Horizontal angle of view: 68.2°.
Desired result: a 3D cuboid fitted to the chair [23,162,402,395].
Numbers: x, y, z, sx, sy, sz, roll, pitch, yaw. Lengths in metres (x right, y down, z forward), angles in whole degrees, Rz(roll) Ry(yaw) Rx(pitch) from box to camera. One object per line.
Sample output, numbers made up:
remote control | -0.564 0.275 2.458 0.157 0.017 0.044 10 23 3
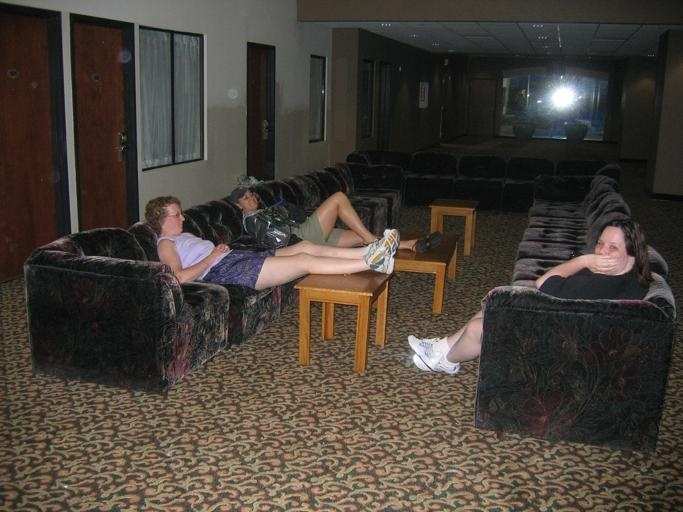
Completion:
chair | -1.202 0.151 4.309 1.159 1.005 2.346 5 17 18

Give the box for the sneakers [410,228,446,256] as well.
sneakers | 0.827 -0.128 4.840 0.298 0.166 0.105 -26 -4 -6

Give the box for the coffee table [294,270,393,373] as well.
coffee table | 0.004 0.458 4.057 0.801 0.677 0.762 4 18 14

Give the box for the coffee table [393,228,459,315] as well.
coffee table | 0.893 0.050 4.969 0.811 0.493 1.056 5 20 15

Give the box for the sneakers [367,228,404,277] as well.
sneakers | 0.330 -0.027 3.969 0.210 0.429 0.165 2 51 -9

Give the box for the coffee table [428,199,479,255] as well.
coffee table | 1.599 -0.529 7.093 0.908 0.794 0.866 4 16 16

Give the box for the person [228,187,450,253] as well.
person | -0.001 -0.397 5.294 0.489 0.542 1.522 -22 23 -39

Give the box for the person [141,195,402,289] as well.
person | -0.584 -0.129 4.171 2.048 0.795 0.805 -3 16 2

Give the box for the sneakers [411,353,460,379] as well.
sneakers | 0.682 0.792 3.793 0.402 0.164 0.141 13 4 5
